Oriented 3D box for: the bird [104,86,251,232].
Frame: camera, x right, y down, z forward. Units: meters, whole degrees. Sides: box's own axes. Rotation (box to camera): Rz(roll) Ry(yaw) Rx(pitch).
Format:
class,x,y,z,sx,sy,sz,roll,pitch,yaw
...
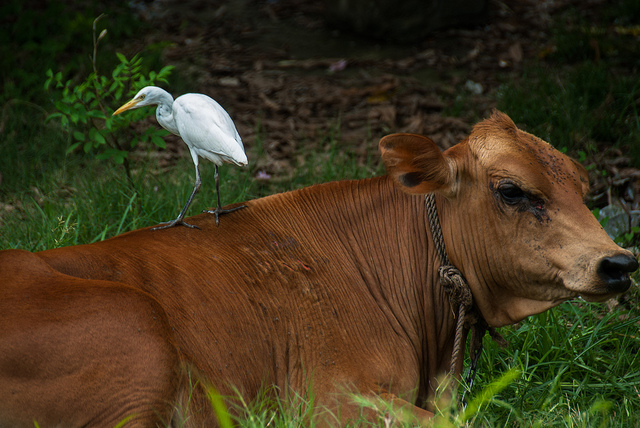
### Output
class,x,y,z,sx,sy,sz,roll,pitch,yaw
bird,-0.973,-0.385,4.985,1.060,0.998,0.465,3,1,23
